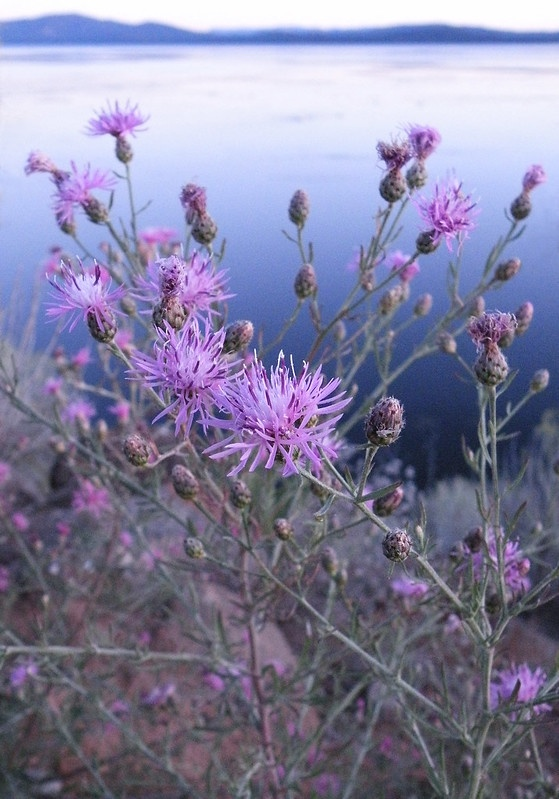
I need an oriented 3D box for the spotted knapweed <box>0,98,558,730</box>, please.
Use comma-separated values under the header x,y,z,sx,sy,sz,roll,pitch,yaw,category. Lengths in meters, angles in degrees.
x,y,z,sx,sy,sz,roll,pitch,yaw,category
0.123,0.067,2.871,1.390,1.923,1.445,-3,5,-4,spotted knapweed
